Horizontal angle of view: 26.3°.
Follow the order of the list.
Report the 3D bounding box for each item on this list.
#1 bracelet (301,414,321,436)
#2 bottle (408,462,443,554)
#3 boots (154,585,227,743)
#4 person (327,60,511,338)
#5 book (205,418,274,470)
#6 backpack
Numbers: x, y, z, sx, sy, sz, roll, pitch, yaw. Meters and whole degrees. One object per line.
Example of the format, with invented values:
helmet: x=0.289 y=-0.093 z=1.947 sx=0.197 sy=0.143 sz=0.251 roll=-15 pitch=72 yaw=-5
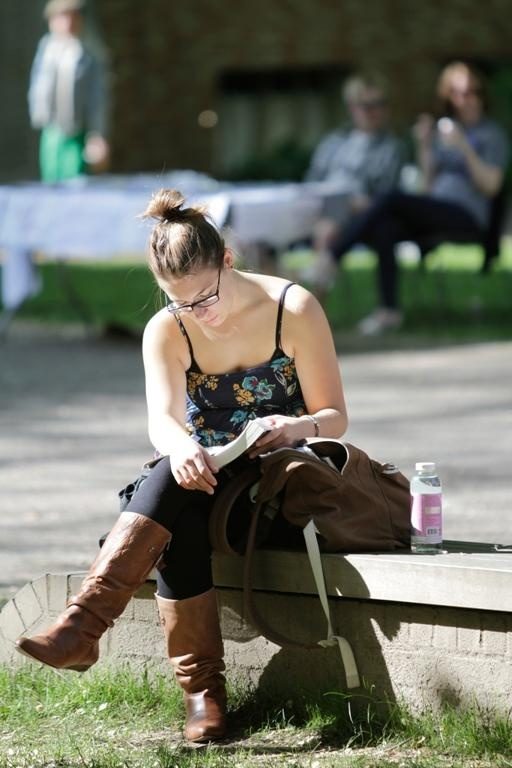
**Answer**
bracelet: x=0.109 y=0.088 z=2.308 sx=0.047 sy=0.041 sz=0.033 roll=9 pitch=-10 yaw=-5
bottle: x=0.334 y=0.249 z=2.189 sx=0.064 sy=0.174 sz=0.097 roll=-3 pitch=12 yaw=7
boots: x=-0.117 y=0.533 z=2.082 sx=0.112 sy=0.252 sz=0.165 roll=-6 pitch=12 yaw=-6
person: x=1.113 y=-1.123 z=6.973 sx=0.531 sy=1.691 sz=1.152 roll=-10 pitch=13 yaw=-23
book: x=-0.039 y=0.122 z=2.116 sx=0.110 sy=0.037 sz=0.108 roll=-28 pitch=0 yaw=-31
backpack: x=0.138 y=0.296 z=2.304 sx=0.456 sy=0.180 sz=0.334 roll=-30 pitch=-13 yaw=17
